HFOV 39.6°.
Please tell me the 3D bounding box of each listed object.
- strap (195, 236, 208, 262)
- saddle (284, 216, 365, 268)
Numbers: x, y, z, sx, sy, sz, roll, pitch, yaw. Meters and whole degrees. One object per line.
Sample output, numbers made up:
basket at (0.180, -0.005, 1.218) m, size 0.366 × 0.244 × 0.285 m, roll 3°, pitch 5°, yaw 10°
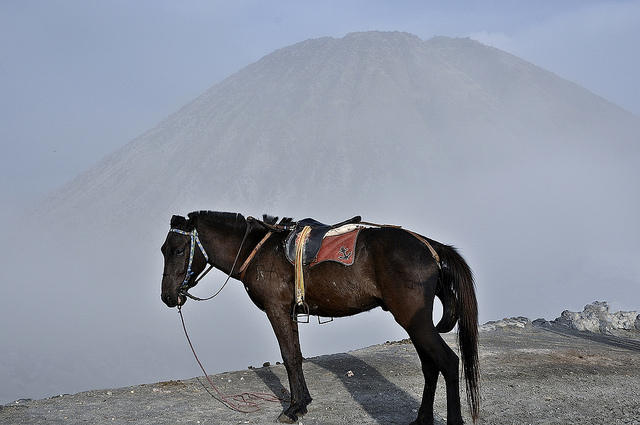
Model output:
strap at (-2.986, 0.896, 22.529) m, size 0.146 × 0.823 × 0.084 m, roll -27°, pitch -1°, yaw -5°
saddle at (0.053, 0.760, 21.697) m, size 1.464 × 1.425 × 0.425 m, roll 2°, pitch -24°, yaw 10°
